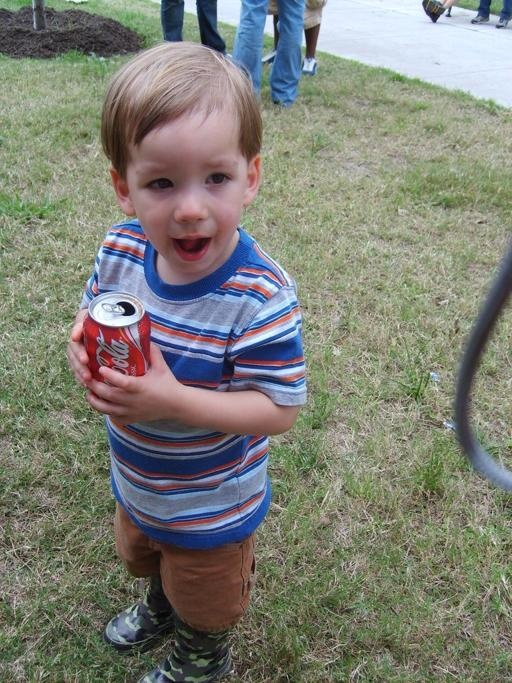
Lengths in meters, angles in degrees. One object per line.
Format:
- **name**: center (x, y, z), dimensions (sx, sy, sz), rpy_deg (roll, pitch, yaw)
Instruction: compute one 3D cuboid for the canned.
- **canned**: center (-0.270, 0.005, 1.263), dimensions (0.159, 0.245, 0.147), rpy_deg (1, 48, -14)
